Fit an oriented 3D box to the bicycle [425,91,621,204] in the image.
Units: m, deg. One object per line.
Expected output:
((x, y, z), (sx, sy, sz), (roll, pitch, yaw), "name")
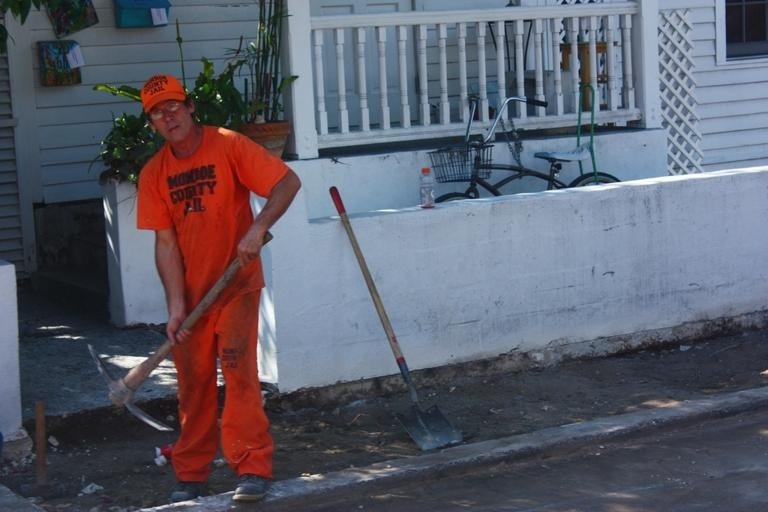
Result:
((1.292, -1.207, 15.969), (2.059, 1.339, 1.144), (-7, 14, -23), "bicycle")

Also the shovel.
((-0.084, 0.625, 13.635), (0.376, 2.912, 0.629), (-31, -13, 31), "shovel")

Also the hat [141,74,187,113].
((-1.846, -1.354, 12.176), (0.354, 0.290, 0.200), (-6, 14, -6), "hat")

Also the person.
((-1.450, 0.244, 12.247), (1.227, 3.488, 1.016), (1, 15, 21), "person")

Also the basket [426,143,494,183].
((0.800, -0.978, 15.349), (0.662, 0.436, 0.271), (-4, 14, -1), "basket")
